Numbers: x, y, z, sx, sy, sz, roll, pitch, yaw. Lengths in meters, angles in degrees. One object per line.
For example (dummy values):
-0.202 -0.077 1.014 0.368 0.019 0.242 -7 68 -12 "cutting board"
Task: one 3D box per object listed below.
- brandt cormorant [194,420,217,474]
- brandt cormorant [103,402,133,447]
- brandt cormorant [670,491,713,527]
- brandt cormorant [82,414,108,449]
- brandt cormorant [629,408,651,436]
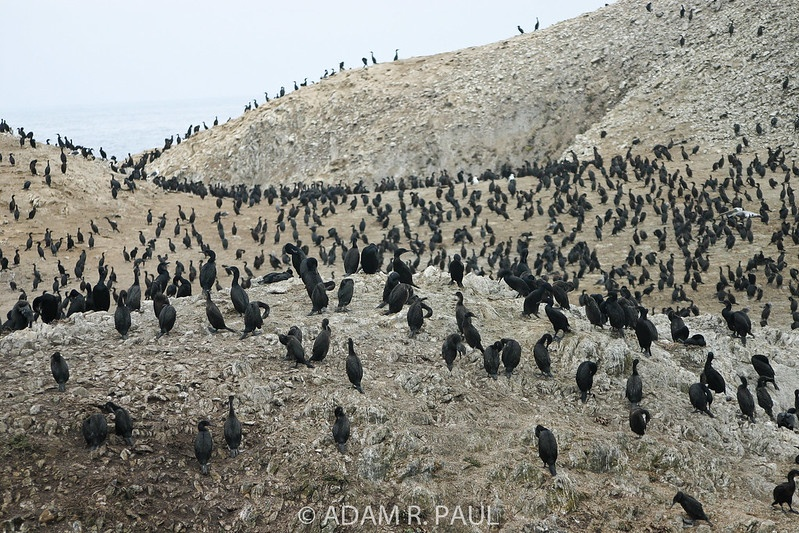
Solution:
-6.778 6.364 40.324 0.617 1.173 1.818 -25 48 23 "brandt cormorant"
-9.719 5.577 40.662 0.579 1.276 1.102 -13 18 -35 "brandt cormorant"
10.126 8.439 40.144 1.686 0.687 0.779 21 -2 44 "brandt cormorant"
-10.557 5.742 40.266 0.677 1.317 0.584 -1 6 -5 "brandt cormorant"
8.656 5.649 41.804 0.644 0.940 0.458 0 15 8 "brandt cormorant"
